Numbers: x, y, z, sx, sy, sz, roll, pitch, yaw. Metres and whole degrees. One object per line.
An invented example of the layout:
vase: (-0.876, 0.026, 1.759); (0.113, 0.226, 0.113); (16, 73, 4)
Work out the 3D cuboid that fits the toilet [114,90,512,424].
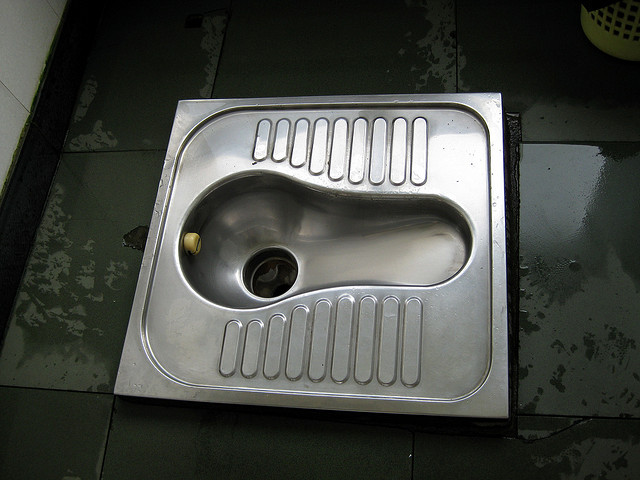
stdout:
toilet: (0.009, -0.036, 0.999); (0.825, 0.233, 0.801); (-3, 69, 13)
